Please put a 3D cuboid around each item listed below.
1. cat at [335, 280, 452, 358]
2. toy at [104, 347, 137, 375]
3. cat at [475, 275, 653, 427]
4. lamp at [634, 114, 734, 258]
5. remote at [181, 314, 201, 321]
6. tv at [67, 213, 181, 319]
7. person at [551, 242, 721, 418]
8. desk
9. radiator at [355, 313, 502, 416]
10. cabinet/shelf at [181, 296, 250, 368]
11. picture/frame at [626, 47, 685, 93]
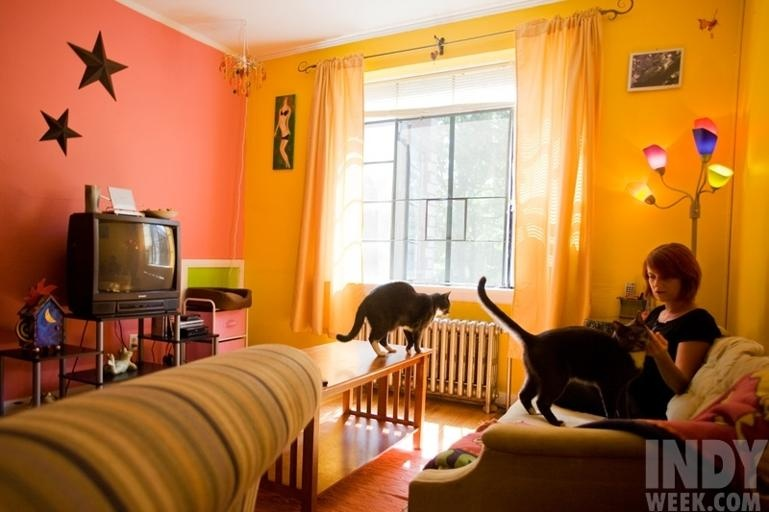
[{"bbox_3d":[0.081,0.437,4.173,0.850,0.521,0.214,2,1,-24],"label":"cat"},{"bbox_3d":[-2.217,0.870,4.981,0.146,0.206,0.325,8,6,-3],"label":"toy"},{"bbox_3d":[1.074,0.577,3.525,0.958,0.843,0.283,0,6,1],"label":"cat"},{"bbox_3d":[2.260,-0.523,4.542,0.668,0.994,0.406,1,2,30],"label":"lamp"},{"bbox_3d":[-1.727,0.556,5.340,0.160,0.041,0.102,0,1,-19],"label":"remote"},{"bbox_3d":[-2.233,0.090,5.034,0.622,0.846,0.833,0,-1,30],"label":"tv"},{"bbox_3d":[1.503,0.462,3.791,1.269,1.071,0.633,7,5,14],"label":"person"},{"bbox_3d":[-0.203,1.051,3.583,0.674,0.753,1.236,4,4,34],"label":"desk"},{"bbox_3d":[0.634,0.961,5.424,0.193,0.721,1.135,8,-7,-32],"label":"radiator"},{"bbox_3d":[-1.622,0.718,5.743,0.509,0.848,0.526,3,2,33],"label":"cabinet/shelf"},{"bbox_3d":[2.171,-1.481,4.748,0.398,0.332,0.033,1,1,21],"label":"picture/frame"}]
